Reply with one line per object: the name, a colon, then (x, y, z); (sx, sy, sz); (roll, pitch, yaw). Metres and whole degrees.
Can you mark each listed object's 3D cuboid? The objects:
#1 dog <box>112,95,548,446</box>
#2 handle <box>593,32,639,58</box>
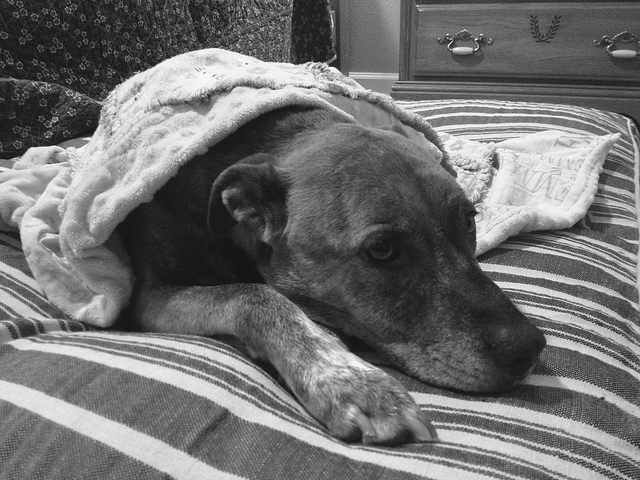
dog: (-0.035, 0.065, 1.786); (0.689, 0.547, 1.122); (-34, 36, -32)
handle: (1.901, -1.251, 4.138); (0.208, 0.144, 0.092); (5, 26, 30)
